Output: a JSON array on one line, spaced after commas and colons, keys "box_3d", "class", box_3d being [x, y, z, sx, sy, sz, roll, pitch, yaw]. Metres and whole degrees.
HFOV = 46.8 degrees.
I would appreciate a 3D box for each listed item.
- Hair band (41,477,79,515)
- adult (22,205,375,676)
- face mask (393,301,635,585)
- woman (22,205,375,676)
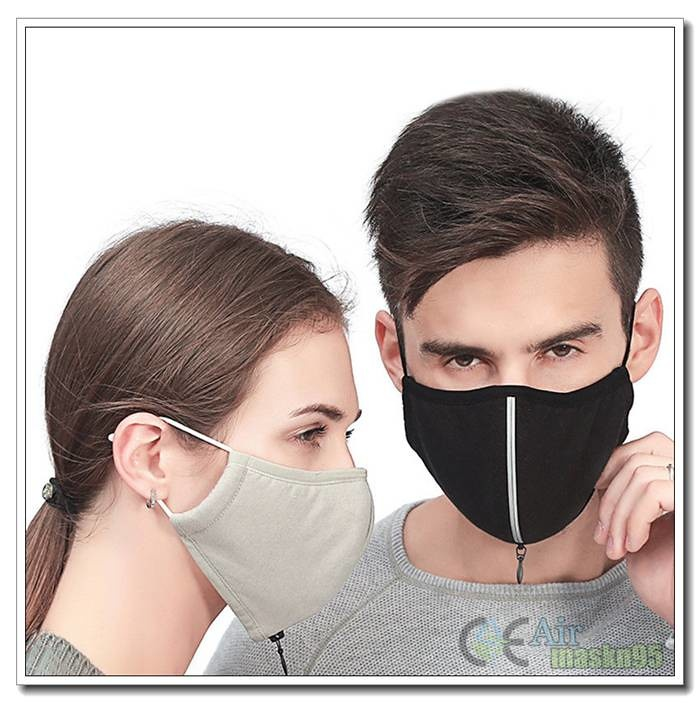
[{"box_3d": [-0.853, 0.438, 2.481, 0.131, 0.056, 0.119, 15, -17, 21], "class": "Hair band"}, {"box_3d": [-0.504, 0.275, 2.387, 1.071, 1.385, 0.385, -5, -8, -1], "class": "adult"}, {"box_3d": [0.618, 0.285, 2.760, 0.873, 0.605, 0.838, 0, 15, 20], "class": "face mask"}, {"box_3d": [-0.502, 0.275, 2.390, 1.071, 1.385, 0.394, -5, -8, -2], "class": "woman"}]
